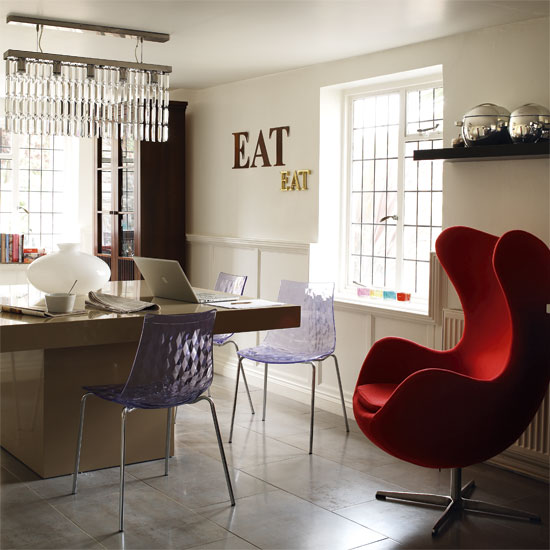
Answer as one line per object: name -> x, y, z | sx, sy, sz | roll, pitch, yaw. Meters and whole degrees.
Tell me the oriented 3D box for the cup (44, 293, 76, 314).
cup -> -0.847, 0.103, 2.114 | 0.080, 0.058, 0.086 | 1, 3, 0
